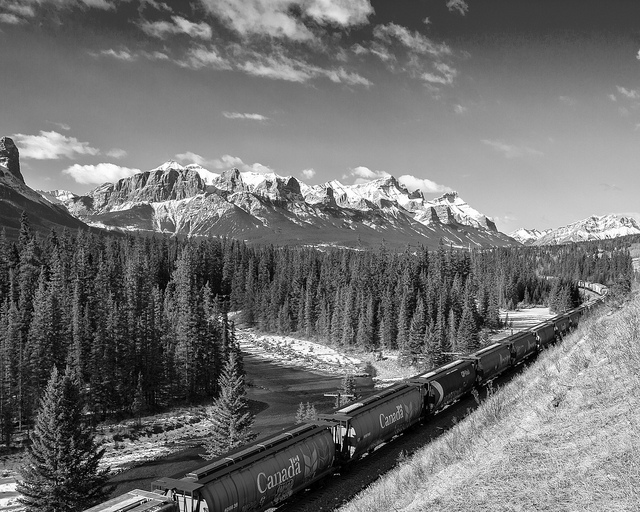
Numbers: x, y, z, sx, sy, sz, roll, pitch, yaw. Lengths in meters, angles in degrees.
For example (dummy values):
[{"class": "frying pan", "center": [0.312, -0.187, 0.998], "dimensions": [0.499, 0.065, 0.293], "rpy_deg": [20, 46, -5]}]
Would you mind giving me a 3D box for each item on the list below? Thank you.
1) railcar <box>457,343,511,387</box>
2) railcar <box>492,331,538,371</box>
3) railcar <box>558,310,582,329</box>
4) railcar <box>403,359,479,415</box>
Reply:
[{"class": "railcar", "center": [15.670, 10.154, 50.357], "dimensions": [2.385, 3.179, 10.538], "rpy_deg": [-2, -2, 36]}, {"class": "railcar", "center": [19.814, 9.539, 55.082], "dimensions": [2.023, 2.503, 9.795], "rpy_deg": [0, 4, 43]}, {"class": "railcar", "center": [34.864, 8.837, 74.204], "dimensions": [1.824, 2.391, 9.799], "rpy_deg": [4, 2, 38]}, {"class": "railcar", "center": [8.982, 11.031, 44.097], "dimensions": [4.316, 3.892, 4.782], "rpy_deg": [-10, -5, 40]}]
